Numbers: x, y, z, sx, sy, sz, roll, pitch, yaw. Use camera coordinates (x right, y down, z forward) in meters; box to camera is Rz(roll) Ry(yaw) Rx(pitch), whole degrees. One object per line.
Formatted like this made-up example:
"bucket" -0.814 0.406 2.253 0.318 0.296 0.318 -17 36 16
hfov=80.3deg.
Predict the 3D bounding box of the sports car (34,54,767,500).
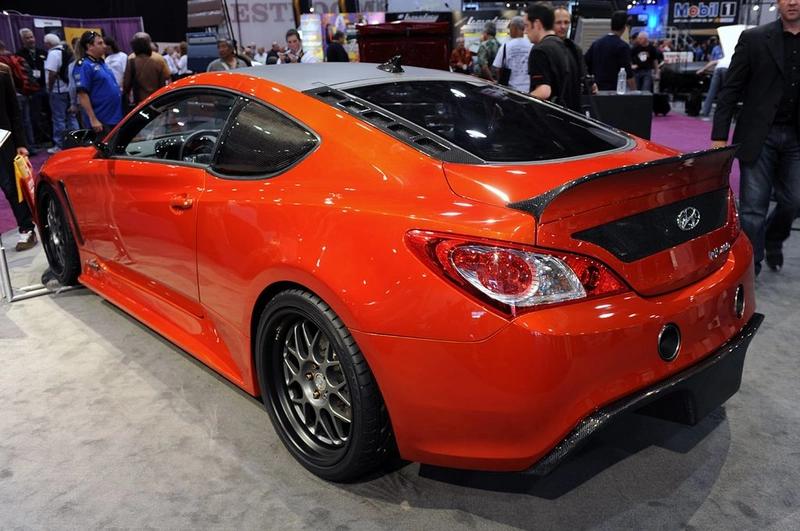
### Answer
"sports car" -0.574 -0.139 2.844 1.965 1.226 3.901 -14 28 -39

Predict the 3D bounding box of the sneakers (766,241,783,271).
"sneakers" 3.339 -0.072 4.230 0.105 0.121 0.279 -1 60 22

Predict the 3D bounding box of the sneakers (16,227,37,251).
"sneakers" -4.229 -0.275 5.349 0.125 0.144 0.338 5 18 -5
